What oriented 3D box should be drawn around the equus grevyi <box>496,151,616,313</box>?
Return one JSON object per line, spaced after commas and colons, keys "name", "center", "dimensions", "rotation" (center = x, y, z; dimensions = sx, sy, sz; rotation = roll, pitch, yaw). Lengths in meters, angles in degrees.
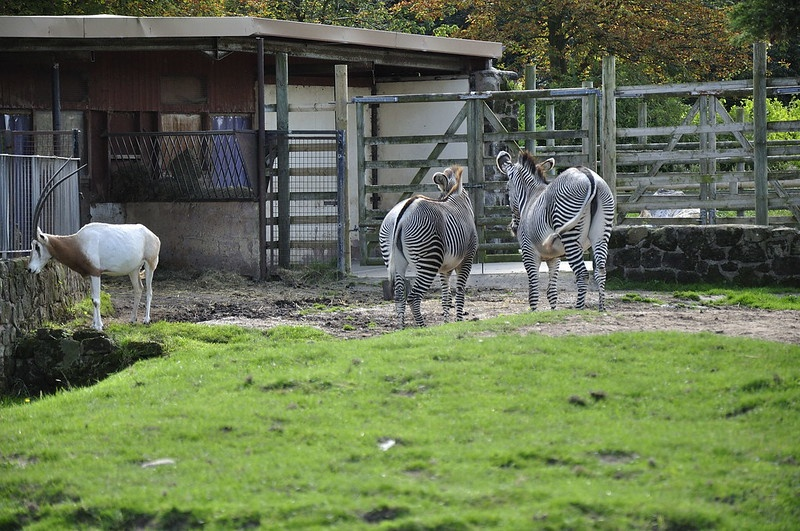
{"name": "equus grevyi", "center": [2.692, -0.523, 25.659], "dimensions": [1.640, 2.648, 1.522], "rotation": [-2, 3, -38]}
